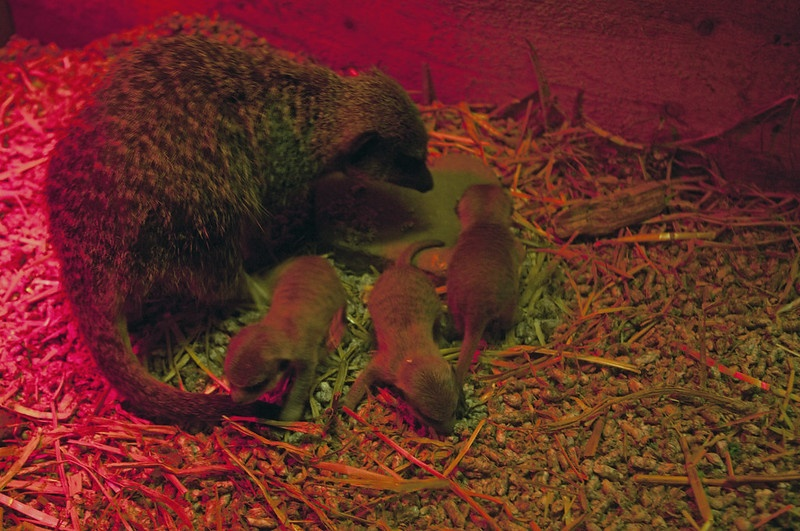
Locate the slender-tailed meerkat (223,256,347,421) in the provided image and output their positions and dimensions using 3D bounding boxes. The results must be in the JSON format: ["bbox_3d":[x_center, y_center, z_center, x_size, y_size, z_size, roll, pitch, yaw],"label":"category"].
[{"bbox_3d":[-0.342,0.251,2.824,0.366,0.428,0.724,24,73,17],"label":"slender-tailed meerkat"}]

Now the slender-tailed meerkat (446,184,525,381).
[{"bbox_3d":[0.429,0.031,2.903,0.251,0.345,0.872,0,63,15],"label":"slender-tailed meerkat"}]

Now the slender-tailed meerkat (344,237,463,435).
[{"bbox_3d":[0.015,0.299,2.724,0.427,0.275,0.682,-9,71,3],"label":"slender-tailed meerkat"}]
